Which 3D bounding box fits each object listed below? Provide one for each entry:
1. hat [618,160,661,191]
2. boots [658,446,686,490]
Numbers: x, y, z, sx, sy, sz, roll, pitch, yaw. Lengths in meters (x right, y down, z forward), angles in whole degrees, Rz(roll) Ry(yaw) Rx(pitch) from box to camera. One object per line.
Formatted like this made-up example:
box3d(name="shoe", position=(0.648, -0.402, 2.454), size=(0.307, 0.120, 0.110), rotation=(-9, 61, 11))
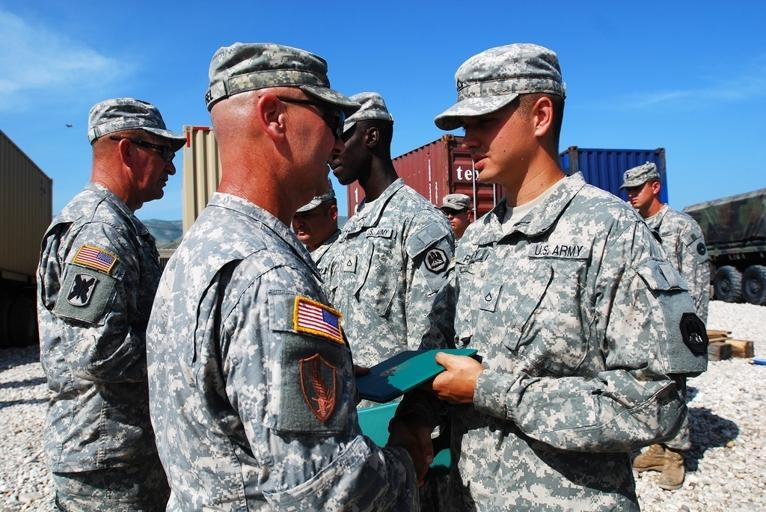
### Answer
box3d(name="hat", position=(2.921, -0.961, 8.259), size=(0.446, 0.230, 0.344), rotation=(-15, 2, -10))
box3d(name="boots", position=(2.515, 1.845, 6.487), size=(0.180, 0.350, 0.507), rotation=(-16, -7, 33))
